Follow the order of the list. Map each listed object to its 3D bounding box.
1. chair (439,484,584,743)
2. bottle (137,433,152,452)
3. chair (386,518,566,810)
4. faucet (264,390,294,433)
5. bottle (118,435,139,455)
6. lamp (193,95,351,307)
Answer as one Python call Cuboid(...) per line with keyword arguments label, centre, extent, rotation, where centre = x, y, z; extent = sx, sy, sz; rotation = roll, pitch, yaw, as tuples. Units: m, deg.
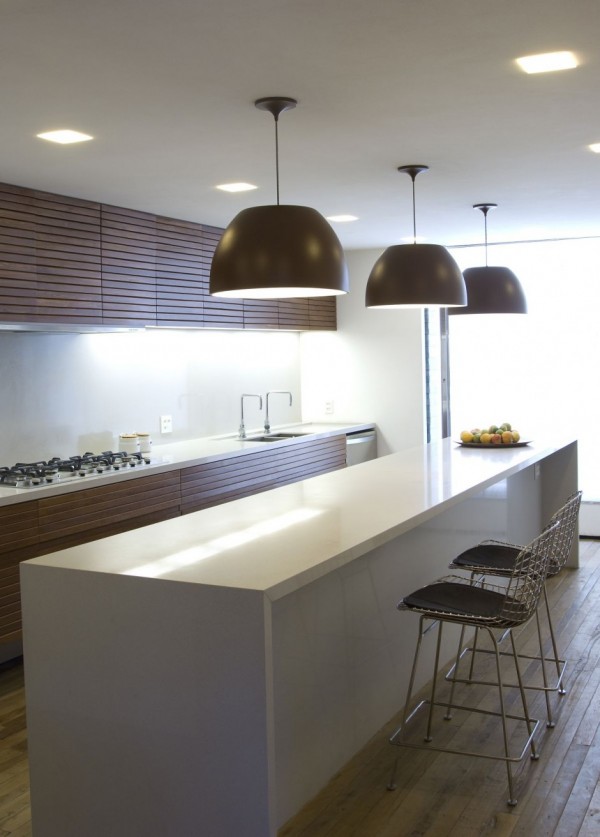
Cuboid(label="chair", centre=(0.825, 0.860, 2.519), extent=(0.425, 0.729, 0.406), rotation=(1, 25, 46))
Cuboid(label="bottle", centre=(-1.042, 0.171, 4.131), extent=(0.104, 0.115, 0.107), rotation=(1, -2, -34))
Cuboid(label="chair", centre=(0.652, 0.951, 2.346), extent=(0.344, 0.632, 0.885), rotation=(2, 2, 23))
Cuboid(label="faucet", centre=(-0.205, -0.122, 6.034), extent=(0.108, 0.339, 0.517), rotation=(-2, -2, 23))
Cuboid(label="bottle", centre=(-1.127, 0.165, 4.021), extent=(0.110, 0.124, 0.112), rotation=(1, -3, -4))
Cuboid(label="lamp", centre=(-0.069, -0.737, 1.921), extent=(0.408, 0.751, 0.430), rotation=(-1, -2, 4))
